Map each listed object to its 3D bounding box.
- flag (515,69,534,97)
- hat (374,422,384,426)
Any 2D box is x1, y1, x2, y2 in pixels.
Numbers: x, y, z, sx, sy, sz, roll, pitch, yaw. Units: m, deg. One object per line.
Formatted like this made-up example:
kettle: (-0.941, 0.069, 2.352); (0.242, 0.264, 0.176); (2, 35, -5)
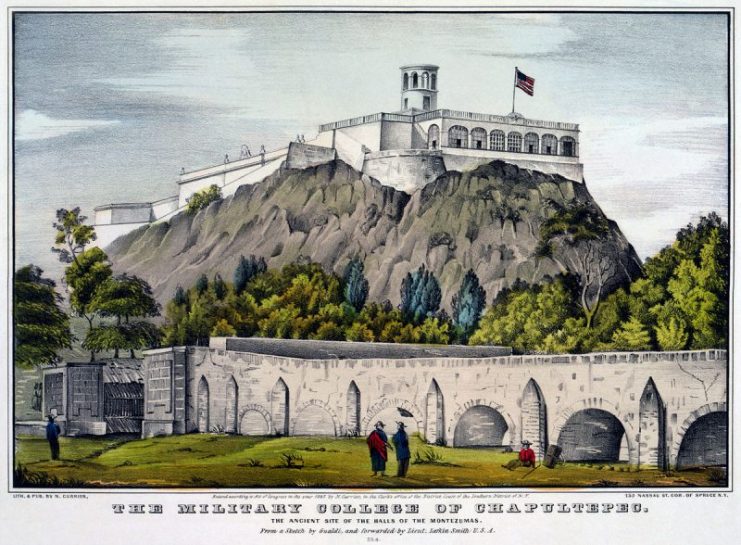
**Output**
flag: (9.334, -11.559, 110.191); (1.387, 1.424, 0.928); (1, -6, -16)
hat: (0.528, 8.657, 101.772); (0.602, 0.165, 0.617); (2, -4, -7)
